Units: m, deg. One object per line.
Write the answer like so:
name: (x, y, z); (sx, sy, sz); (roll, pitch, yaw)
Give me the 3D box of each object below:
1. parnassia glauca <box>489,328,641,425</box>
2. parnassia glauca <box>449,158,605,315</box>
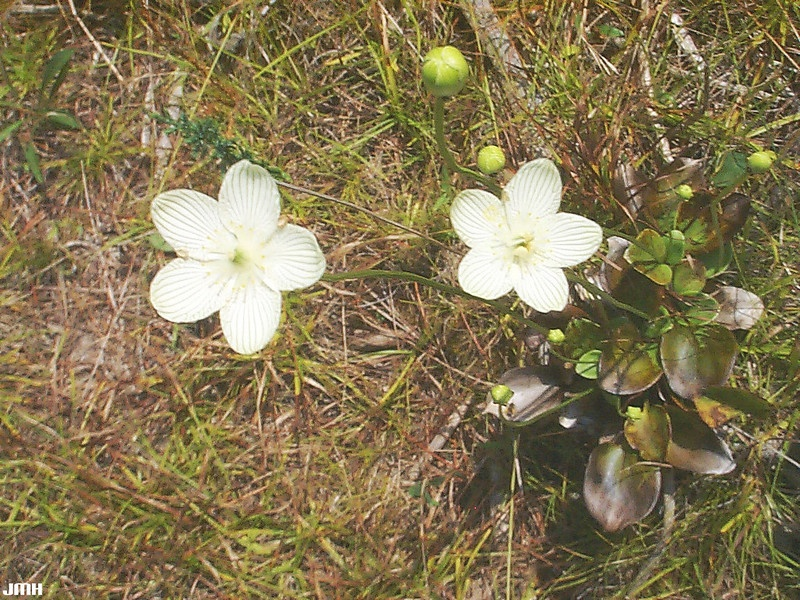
parnassia glauca: (0.775, 0.421, 3.896); (0.505, 0.110, 0.357); (27, 57, 12)
parnassia glauca: (0.555, -0.268, 3.571); (0.622, 0.211, 0.633); (-7, 83, -5)
